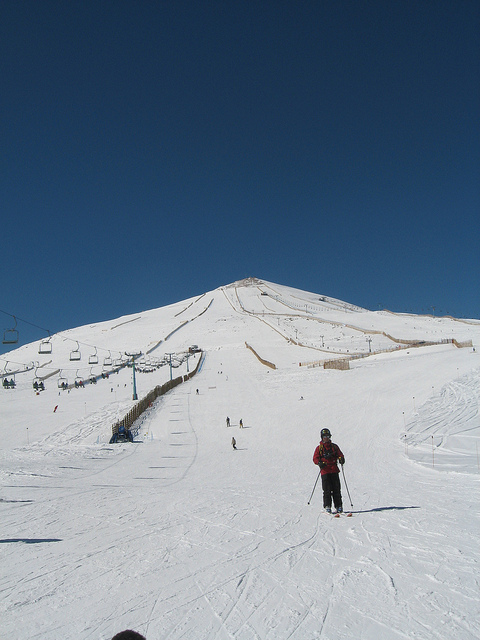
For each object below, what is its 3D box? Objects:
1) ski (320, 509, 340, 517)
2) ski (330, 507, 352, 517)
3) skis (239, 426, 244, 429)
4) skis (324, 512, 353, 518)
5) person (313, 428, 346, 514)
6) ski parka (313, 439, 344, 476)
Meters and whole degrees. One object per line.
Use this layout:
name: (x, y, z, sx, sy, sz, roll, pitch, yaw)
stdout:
ski: (1.551, 3.278, 9.764, 0.079, 0.108, 0.276, 7, -24, -35)
ski: (1.711, 3.299, 9.803, 0.358, 0.091, 0.124, -1, 0, 35)
skis: (0.043, 5.168, 27.778, 0.215, 0.168, 0.077, -16, -13, 13)
skis: (1.728, 3.264, 9.649, 0.278, 0.053, 0.094, -3, -5, 28)
person: (1.510, 2.573, 9.806, 0.479, 1.416, 0.799, -2, -6, 9)
ski parka: (1.481, 2.338, 9.745, 0.456, 0.576, 0.419, -2, -6, 7)
